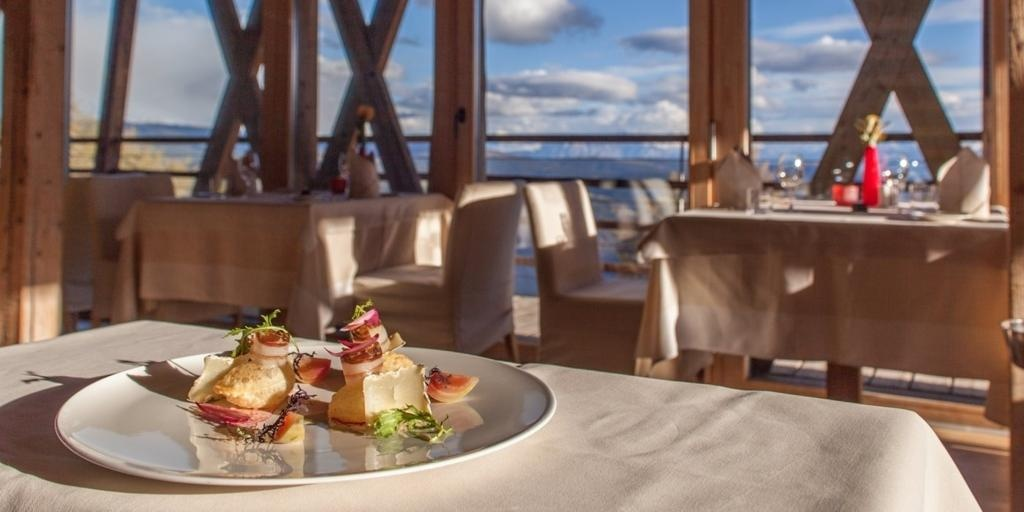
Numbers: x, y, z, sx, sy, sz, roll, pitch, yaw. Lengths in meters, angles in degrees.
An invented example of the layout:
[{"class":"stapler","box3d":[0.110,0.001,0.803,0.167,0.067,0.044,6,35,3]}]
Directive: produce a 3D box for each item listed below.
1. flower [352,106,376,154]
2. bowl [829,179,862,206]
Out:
[{"class":"flower","box3d":[-1.095,-0.940,5.303,0.156,0.441,0.160,-17,52,-19]},{"class":"bowl","box3d":[1.927,-0.350,4.164,0.197,0.181,0.141,0,-5,6]}]
